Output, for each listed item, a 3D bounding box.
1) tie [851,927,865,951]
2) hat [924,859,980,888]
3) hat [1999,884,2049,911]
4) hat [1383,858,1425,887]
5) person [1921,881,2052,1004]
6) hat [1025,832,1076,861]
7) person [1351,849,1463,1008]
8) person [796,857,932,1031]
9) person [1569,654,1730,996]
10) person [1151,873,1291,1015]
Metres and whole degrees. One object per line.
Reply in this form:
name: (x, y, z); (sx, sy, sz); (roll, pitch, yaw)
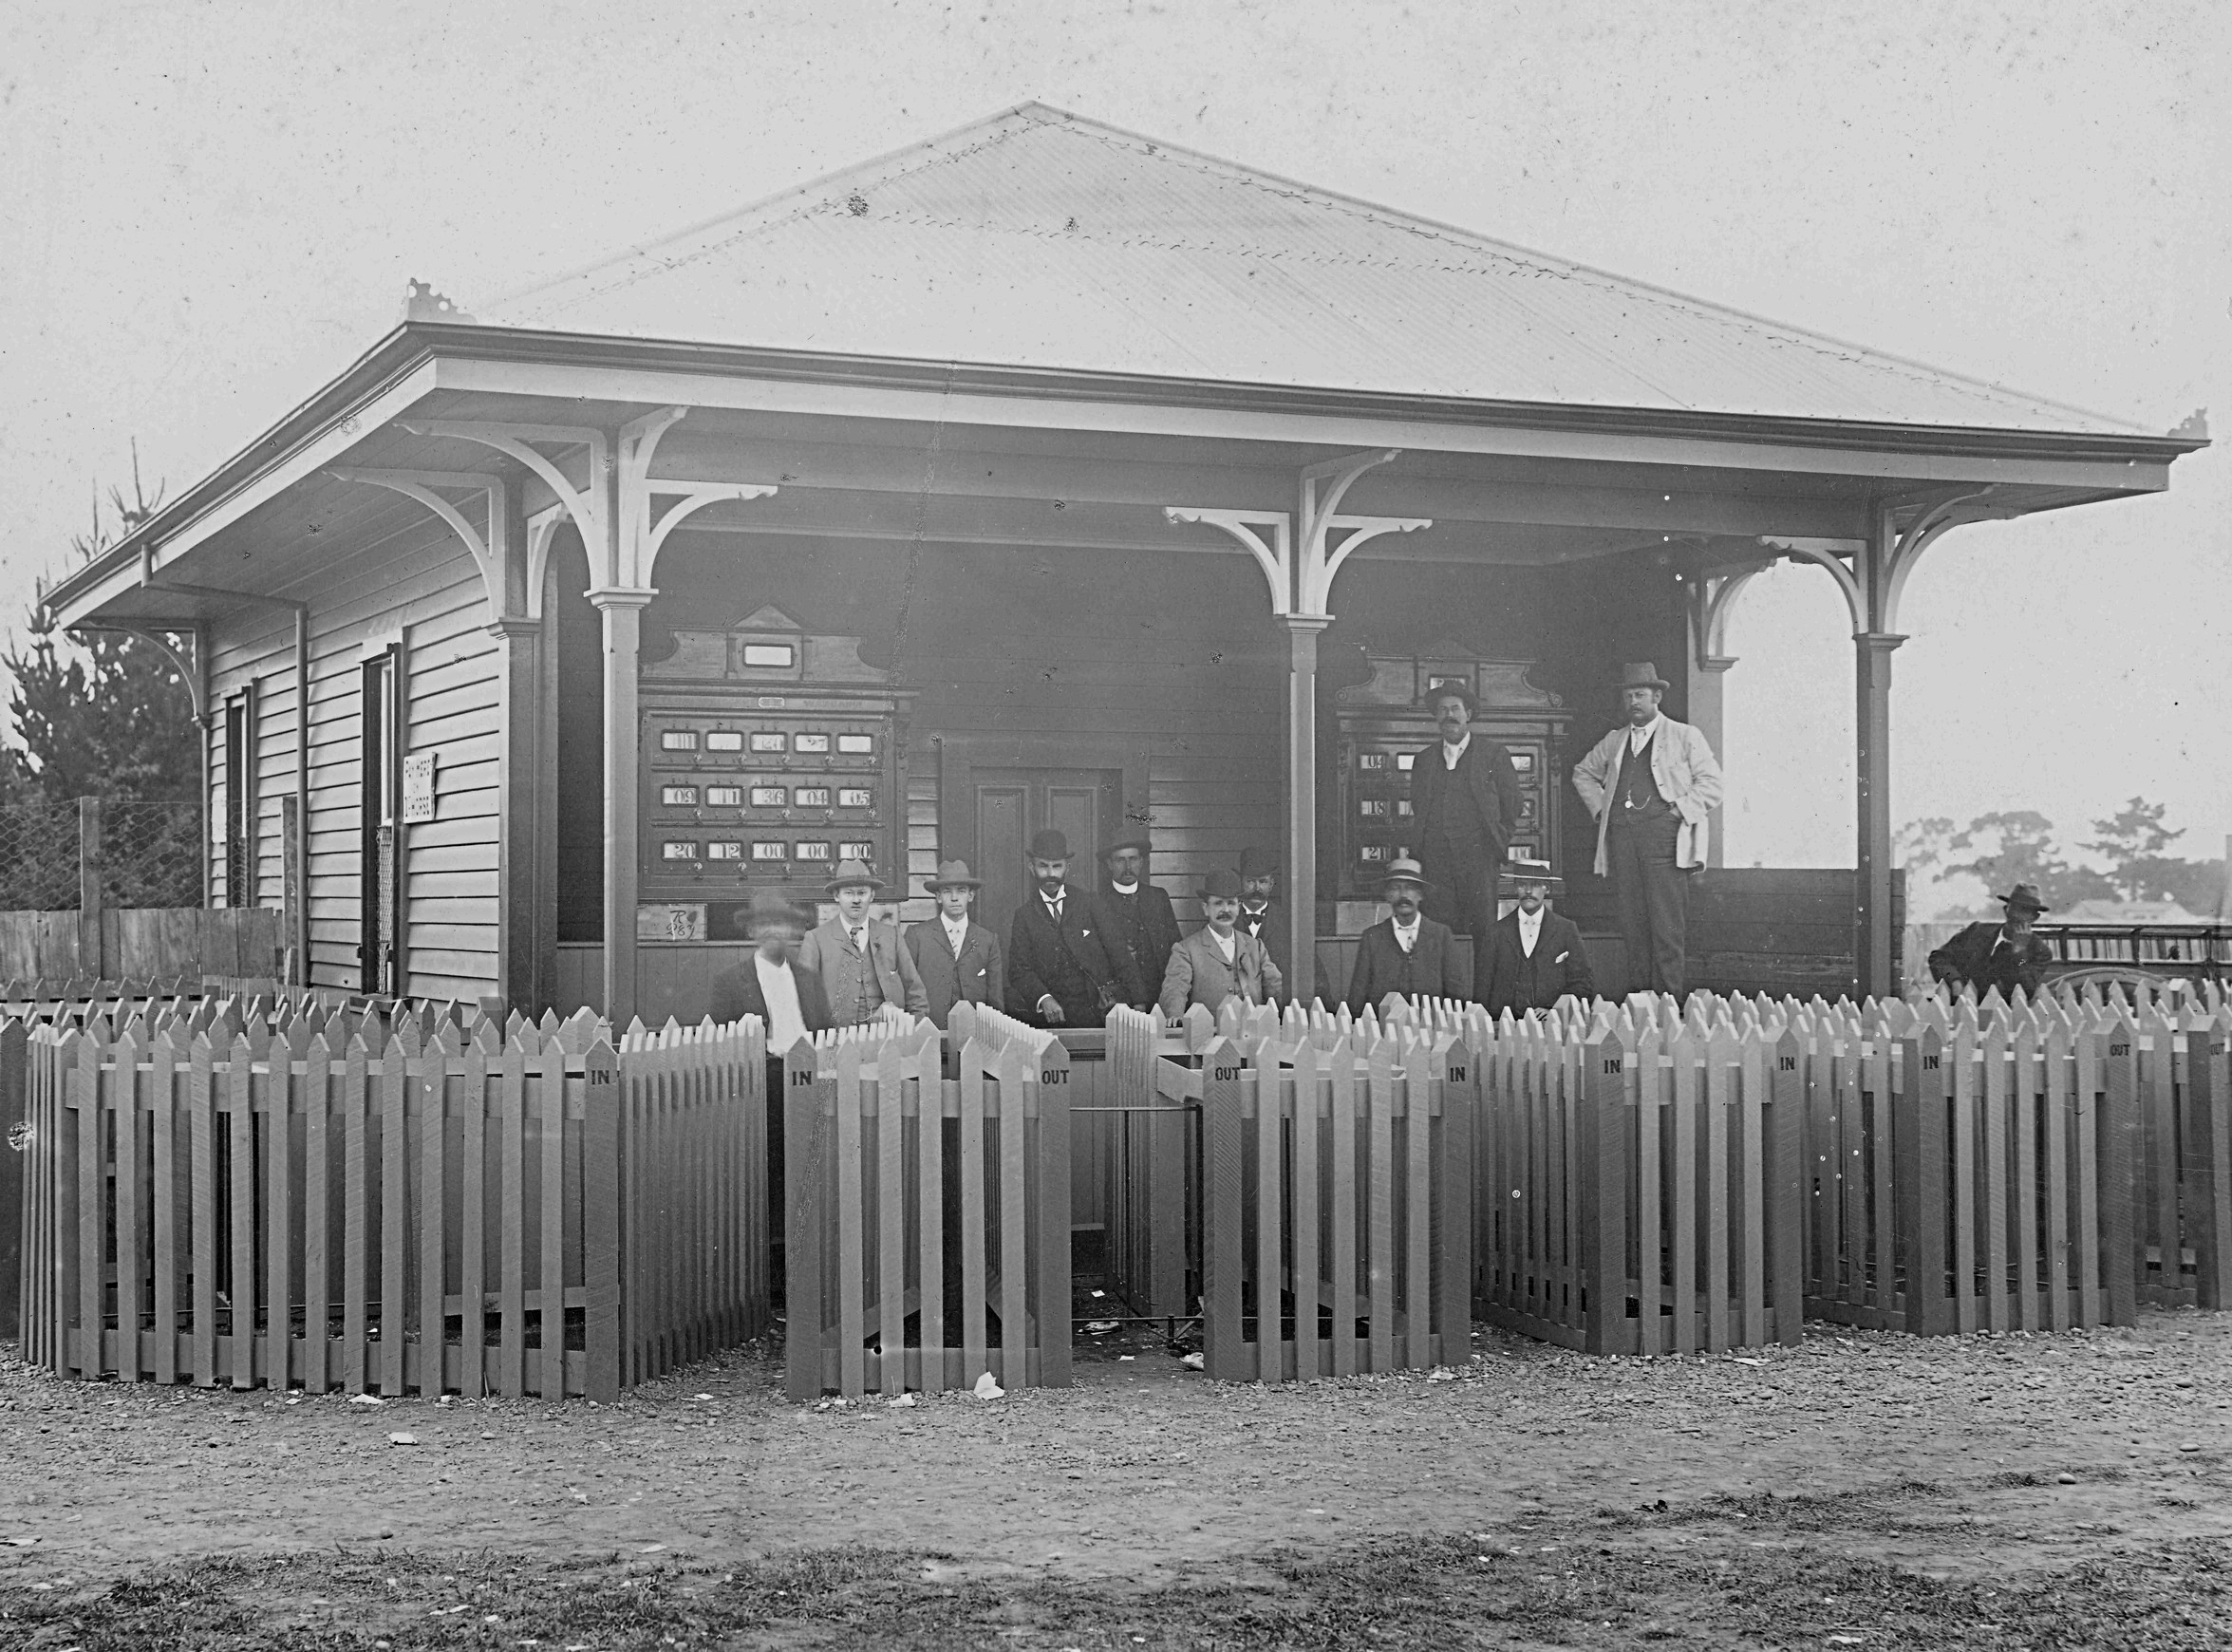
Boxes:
tie: (-1.800, 0.794, 22.289); (0.157, 0.166, 0.084); (1, -5, -40)
hat: (-1.215, 0.364, 23.374); (0.302, 0.144, 0.346); (1, -4, -7)
hat: (7.665, 0.607, 27.129); (0.320, 0.128, 0.337); (5, -7, 5)
hat: (2.195, 0.360, 24.428); (0.266, 0.132, 0.331); (2, -6, 4)
person: (7.564, 1.022, 27.783); (0.572, 1.469, 1.078); (18, -11, -33)
hat: (-0.569, 0.168, 25.575); (0.271, 0.181, 0.343); (1, -5, 0)
person: (2.242, 0.824, 24.544); (0.954, 1.374, 0.472); (0, 6, 9)
person: (-1.788, 1.177, 22.216); (0.847, 1.845, 0.563); (-1, -23, -15)
person: (4.622, -0.002, 27.495); (0.958, 2.928, 1.083); (0, -6, -2)
person: (0.831, 0.826, 23.164); (0.991, 1.512, 0.827); (-1, -2, -17)
